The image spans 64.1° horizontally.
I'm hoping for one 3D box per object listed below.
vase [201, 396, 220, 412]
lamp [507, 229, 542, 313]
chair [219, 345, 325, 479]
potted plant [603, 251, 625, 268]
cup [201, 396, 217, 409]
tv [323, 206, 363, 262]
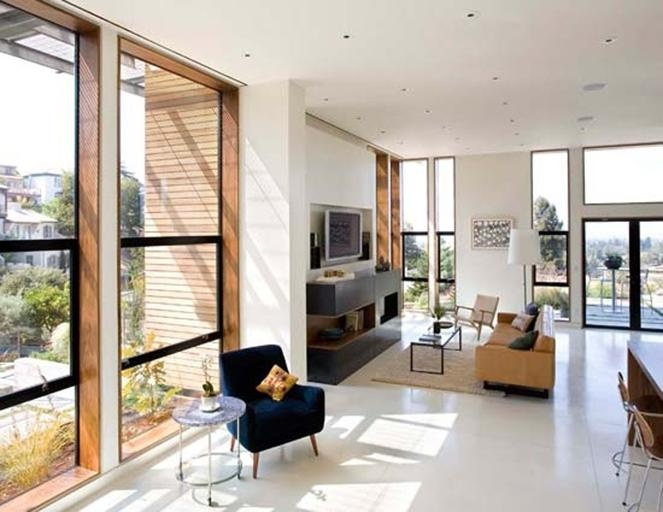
[{"bbox_3d":[-1.195,1.440,5.188,0.147,0.073,0.151,0,2,-44],"label":"vase"},{"bbox_3d":[3.708,0.306,10.148,0.501,1.818,2.397,2,8,21],"label":"lamp"},{"bbox_3d":[-0.680,1.551,5.845,1.185,1.466,1.086,0,-1,-43],"label":"chair"},{"bbox_3d":[5.669,0.070,10.621,0.284,0.379,0.304,-3,-4,37],"label":"potted plant"},{"bbox_3d":[-1.195,1.428,5.175,0.120,0.097,0.125,-1,0,0],"label":"cup"},{"bbox_3d":[0.193,-0.332,8.997,0.095,0.931,1.533,3,8,24],"label":"tv"}]
